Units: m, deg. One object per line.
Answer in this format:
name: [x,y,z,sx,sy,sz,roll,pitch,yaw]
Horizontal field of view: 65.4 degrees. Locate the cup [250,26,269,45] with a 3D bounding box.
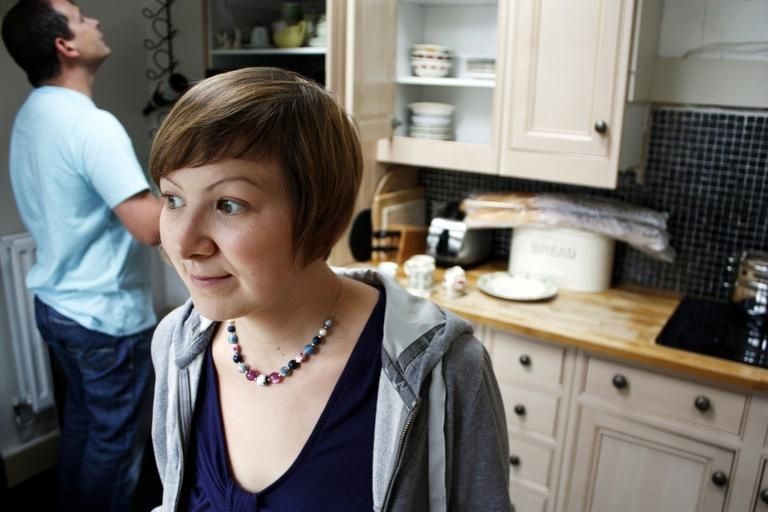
cup: [-0.580,-1.021,2.768,0.090,0.088,0.153,1,12,-2]

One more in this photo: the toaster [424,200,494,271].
toaster: [0.340,-0.102,2.857,0.230,0.302,0.329,-4,0,42]

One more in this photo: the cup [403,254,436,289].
cup: [0.152,0.068,2.597,0.133,0.126,0.113,0,15,0]

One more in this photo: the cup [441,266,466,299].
cup: [0.292,0.122,2.535,0.090,0.120,0.117,1,3,23]

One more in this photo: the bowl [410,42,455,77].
bowl: [0.198,-0.832,2.567,0.148,0.089,0.151,2,18,-1]

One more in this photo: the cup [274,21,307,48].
cup: [-0.437,-1.031,2.792,0.138,0.103,0.116,-6,17,-12]

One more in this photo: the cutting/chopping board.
cutting/chopping board: [0.056,-0.170,2.851,0.168,0.428,0.448,2,3,23]

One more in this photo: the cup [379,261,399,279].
cup: [0.027,0.059,2.675,0.072,0.070,0.074,0,11,0]
